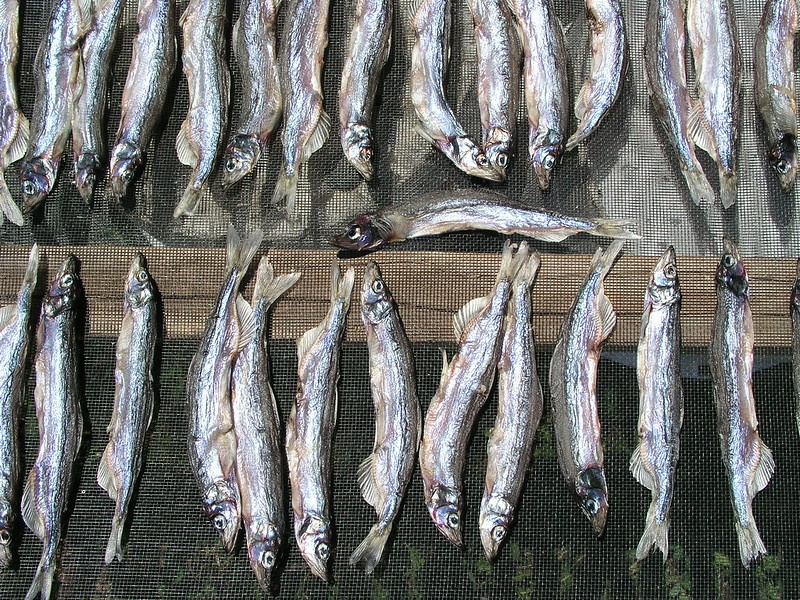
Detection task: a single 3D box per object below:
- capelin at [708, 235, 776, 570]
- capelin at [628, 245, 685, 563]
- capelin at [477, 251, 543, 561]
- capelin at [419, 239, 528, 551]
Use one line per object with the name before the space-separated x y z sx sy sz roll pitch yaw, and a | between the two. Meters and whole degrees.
capelin | 1.546 0.402 7.584 0.216 1.590 0.274 5 -14 -30
capelin | 1.173 0.442 7.521 0.290 1.567 0.217 2 -8 11
capelin | 0.513 0.506 7.502 0.222 1.185 0.417 2 36 6
capelin | 0.377 0.426 7.597 0.353 1.505 0.224 20 -13 -27
